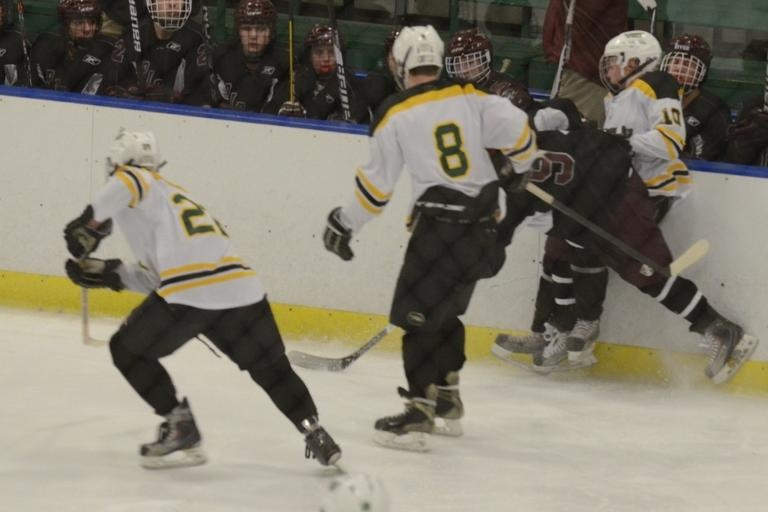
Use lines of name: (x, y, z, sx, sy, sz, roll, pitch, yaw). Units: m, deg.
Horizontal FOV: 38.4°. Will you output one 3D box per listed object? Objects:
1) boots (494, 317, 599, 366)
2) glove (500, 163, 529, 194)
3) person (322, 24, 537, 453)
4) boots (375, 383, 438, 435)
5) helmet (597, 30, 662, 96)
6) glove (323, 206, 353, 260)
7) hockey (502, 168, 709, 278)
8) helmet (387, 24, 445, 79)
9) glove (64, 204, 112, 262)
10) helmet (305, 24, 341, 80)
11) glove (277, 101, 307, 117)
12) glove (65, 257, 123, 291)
boots: (0.873, 0.479, 6.464, 0.776, 0.311, 0.226, 6, 11, 2)
glove: (0.669, -0.406, 5.727, 0.128, 0.149, 0.054, -9, 19, -30)
person: (0.188, -0.113, 5.612, 0.875, 2.037, 0.796, 9, 20, 18)
boots: (0.133, 0.805, 5.708, 0.388, 0.240, 0.125, -7, -16, 31)
helmet: (1.467, -1.123, 6.398, 0.414, 0.342, 0.316, 1, 5, 14)
glove: (-0.254, -0.120, 5.818, 0.180, 0.249, 0.257, -5, 55, -7)
hockey: (1.264, -0.208, 6.106, 0.963, 0.105, 0.139, 31, 36, 6)
helmet: (0.153, -1.075, 5.702, 0.258, 0.239, 0.274, -1, 34, -4)
glove: (-1.463, -0.134, 5.424, 0.225, 0.273, 0.120, 42, 8, -24)
helmet: (-0.404, -1.280, 6.935, 0.267, 0.306, 0.322, -3, 22, -4)
glove: (-0.547, -0.893, 6.734, 0.165, 0.042, 0.139, -6, 62, -41)
glove: (-1.525, 0.093, 5.569, 0.386, 0.144, 0.115, 9, 41, -18)
